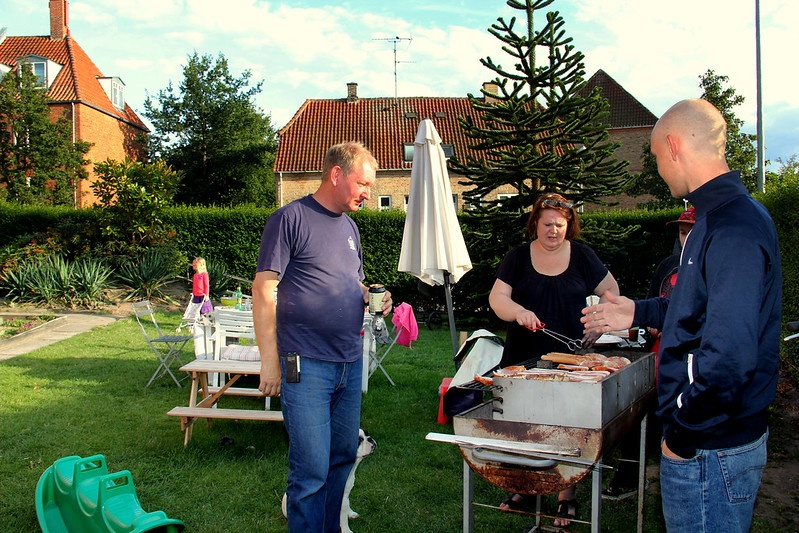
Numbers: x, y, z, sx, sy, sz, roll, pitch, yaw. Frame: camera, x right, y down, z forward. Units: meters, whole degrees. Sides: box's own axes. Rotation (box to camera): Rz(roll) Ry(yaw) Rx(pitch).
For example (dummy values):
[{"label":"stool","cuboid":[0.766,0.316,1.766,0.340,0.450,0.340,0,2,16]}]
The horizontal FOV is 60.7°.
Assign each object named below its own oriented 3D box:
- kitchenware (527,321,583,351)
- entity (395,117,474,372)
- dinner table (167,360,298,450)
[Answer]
[{"label":"kitchenware","cuboid":[1.399,0.627,6.366,0.581,0.214,0.074,27,20,33]},{"label":"entity","cuboid":[0.439,-0.336,8.635,0.884,3.065,0.893,1,7,1]},{"label":"dinner table","cuboid":[-2.144,1.563,8.479,1.405,0.897,1.261,1,4,2]}]
